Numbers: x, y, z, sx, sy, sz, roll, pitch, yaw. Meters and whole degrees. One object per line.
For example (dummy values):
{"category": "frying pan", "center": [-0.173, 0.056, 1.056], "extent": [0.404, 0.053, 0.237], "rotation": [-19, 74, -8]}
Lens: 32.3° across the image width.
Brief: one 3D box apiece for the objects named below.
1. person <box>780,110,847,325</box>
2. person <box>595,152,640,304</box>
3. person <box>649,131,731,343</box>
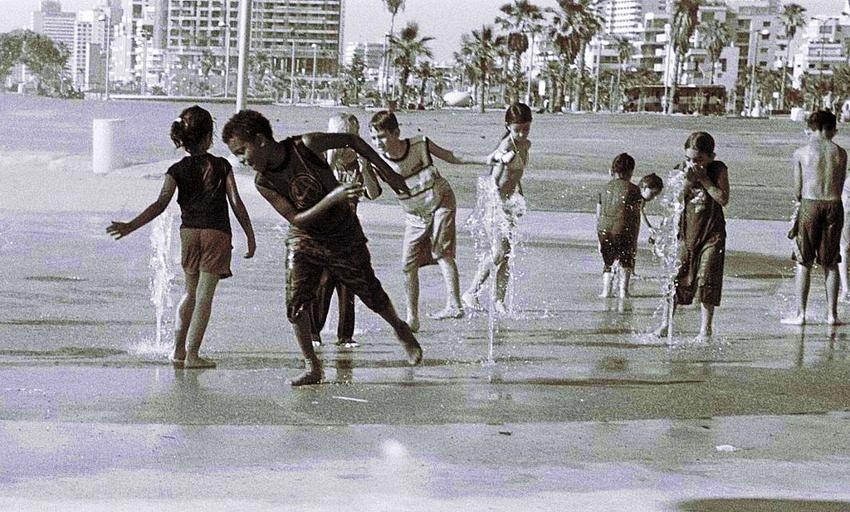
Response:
{"category": "person", "center": [6.366, -0.623, 23.778], "extent": [0.945, 3.486, 0.505], "rotation": [5, 10, 8]}
{"category": "person", "center": [3.356, -0.562, 25.512], "extent": [0.738, 2.419, 0.987], "rotation": [5, 10, 9]}
{"category": "person", "center": [4.236, -0.321, 22.882], "extent": [0.890, 3.244, 0.816], "rotation": [5, 10, 9]}
